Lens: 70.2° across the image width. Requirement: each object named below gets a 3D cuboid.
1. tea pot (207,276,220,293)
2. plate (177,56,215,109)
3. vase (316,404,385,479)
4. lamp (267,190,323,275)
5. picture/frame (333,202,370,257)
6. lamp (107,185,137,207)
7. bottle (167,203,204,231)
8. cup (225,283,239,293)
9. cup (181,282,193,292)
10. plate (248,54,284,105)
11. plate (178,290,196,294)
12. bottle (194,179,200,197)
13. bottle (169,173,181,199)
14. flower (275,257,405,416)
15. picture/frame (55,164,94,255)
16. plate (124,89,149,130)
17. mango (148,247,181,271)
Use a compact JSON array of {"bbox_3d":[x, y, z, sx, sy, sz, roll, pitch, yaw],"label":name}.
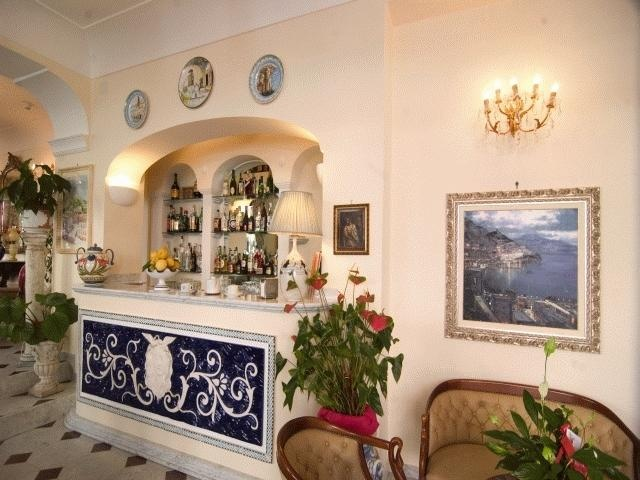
[{"bbox_3d":[-1.084,0.460,4.637,0.111,0.200,0.183,-3,-5,40],"label":"tea pot"},{"bbox_3d":[-1.395,-1.786,5.194,0.555,0.665,0.082,6,4,41],"label":"plate"},{"bbox_3d":[0.311,1.495,3.783,0.598,0.732,0.485,-1,5,8],"label":"vase"},{"bbox_3d":[-0.172,-0.098,4.487,0.600,0.944,0.603,1,-3,11],"label":"lamp"},{"bbox_3d":[0.320,-0.103,4.440,0.464,0.701,0.068,1,1,23],"label":"picture/frame"},{"bbox_3d":[-2.600,-0.576,6.057,0.152,0.255,0.429,0,0,22],"label":"lamp"},{"bbox_3d":[-2.060,-0.348,7.021,0.384,0.372,0.131,0,-3,19],"label":"bottle"},{"bbox_3d":[-0.847,0.463,4.416,0.085,0.090,0.119,0,0,-9],"label":"cup"},{"bbox_3d":[-1.350,0.475,4.648,0.105,0.100,0.088,4,-3,-35],"label":"cup"},{"bbox_3d":[-0.563,-1.691,4.822,0.422,0.475,0.118,2,3,29],"label":"plate"},{"bbox_3d":[-1.317,0.522,4.568,0.149,0.024,0.192,0,0,-25],"label":"plate"},{"bbox_3d":[-1.866,-0.787,6.956,0.127,0.229,0.507,0,0,-16],"label":"bottle"},{"bbox_3d":[-2.244,-0.842,7.147,0.142,0.364,0.220,0,0,26],"label":"bottle"},{"bbox_3d":[0.179,0.888,3.906,1.016,1.230,0.853,0,0,10],"label":"flower"},{"bbox_3d":[-3.218,-0.420,6.012,1.055,1.684,0.073,3,1,40],"label":"picture/frame"},{"bbox_3d":[-2.226,-1.591,5.571,0.441,0.493,0.053,9,6,37],"label":"plate"},{"bbox_3d":[-1.632,0.200,4.829,0.212,0.160,0.305,2,4,0],"label":"mango"}]
